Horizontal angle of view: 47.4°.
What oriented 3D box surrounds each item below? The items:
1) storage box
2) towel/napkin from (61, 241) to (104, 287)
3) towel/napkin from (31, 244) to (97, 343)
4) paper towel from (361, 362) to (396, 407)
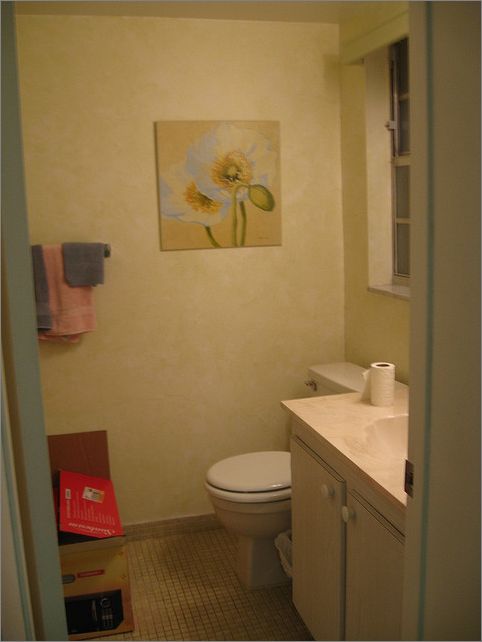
[{"bbox_3d":[-0.583,0.797,2.087,0.230,0.663,0.437,-6,8,-21],"label":"storage box"},{"bbox_3d":[-0.655,-0.231,2.239,0.170,0.175,0.089,-1,3,-18],"label":"towel/napkin"},{"bbox_3d":[-0.709,-0.102,2.280,0.328,0.344,0.124,2,1,17],"label":"towel/napkin"},{"bbox_3d":[0.478,0.207,1.854,0.101,0.149,0.146,-1,16,-6],"label":"paper towel"}]
